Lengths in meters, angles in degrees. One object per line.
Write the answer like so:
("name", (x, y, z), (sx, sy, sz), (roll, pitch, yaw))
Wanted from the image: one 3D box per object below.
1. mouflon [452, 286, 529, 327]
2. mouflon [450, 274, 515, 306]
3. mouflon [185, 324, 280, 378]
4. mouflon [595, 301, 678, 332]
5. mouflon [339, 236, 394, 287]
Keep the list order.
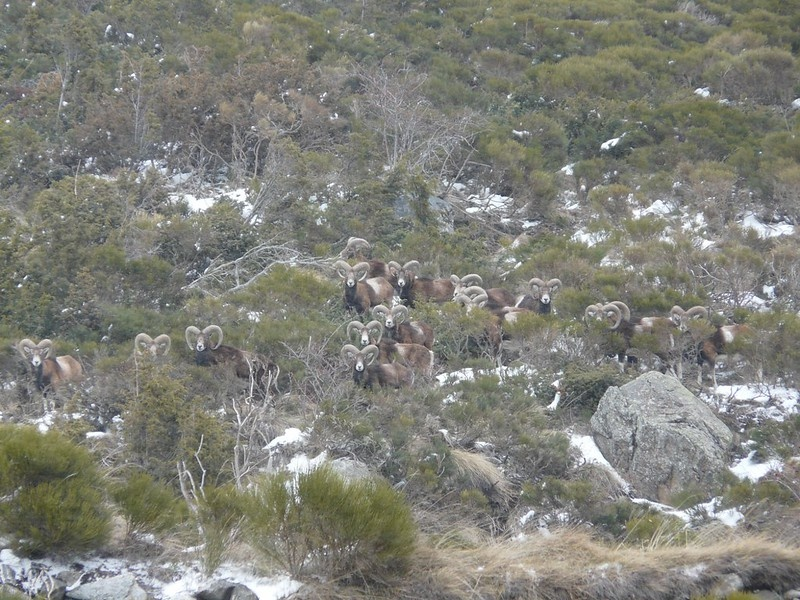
("mouflon", (2.937, 0.235, 53.067), (2.376, 1.696, 1.064), (3, 3, -16))
("mouflon", (2.746, -0.220, 54.292), (1.992, 1.430, 0.961), (5, 4, 0))
("mouflon", (-5.277, 1.871, 51.514), (2.668, 1.747, 1.518), (15, 7, 2))
("mouflon", (7.535, 0.578, 52.472), (2.494, 1.318, 1.002), (0, 2, 10))
("mouflon", (-1.058, -1.347, 55.805), (1.852, 1.573, 1.016), (9, 12, 15))
